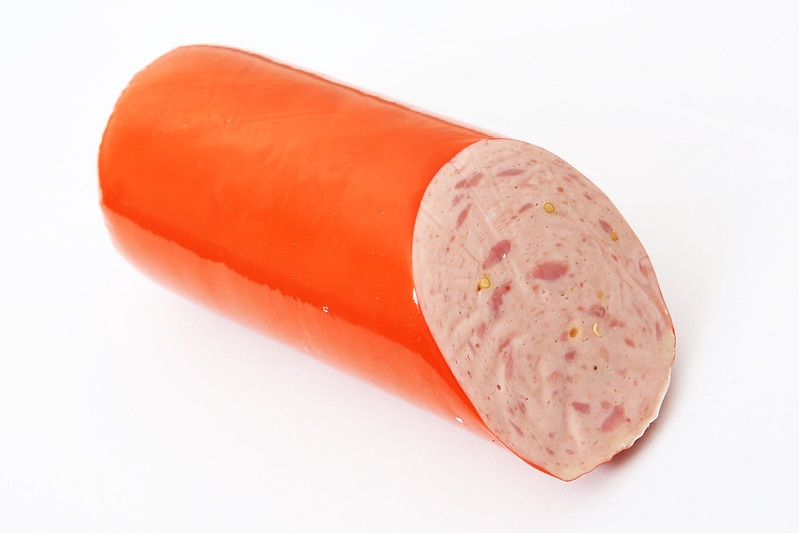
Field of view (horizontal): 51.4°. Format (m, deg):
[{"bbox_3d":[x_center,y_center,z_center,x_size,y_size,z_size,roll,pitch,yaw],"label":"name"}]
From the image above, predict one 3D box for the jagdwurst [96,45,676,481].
[{"bbox_3d":[-0.059,-0.091,2.366,1.635,0.748,0.743,23,58,23],"label":"jagdwurst"}]
